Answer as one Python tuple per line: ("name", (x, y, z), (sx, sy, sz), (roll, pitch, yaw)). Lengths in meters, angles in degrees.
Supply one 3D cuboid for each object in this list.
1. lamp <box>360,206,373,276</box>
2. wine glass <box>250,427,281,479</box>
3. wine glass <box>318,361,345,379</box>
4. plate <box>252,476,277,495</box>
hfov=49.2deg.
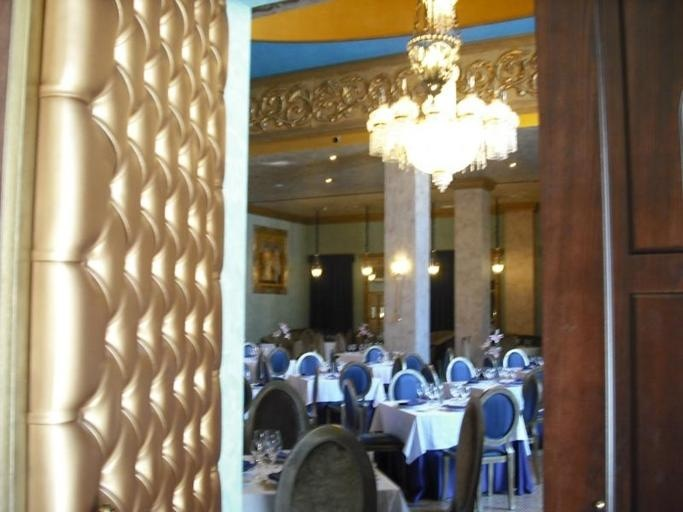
("lamp", (0.550, -0.296, 16.863), (0.268, 1.551, 0.299), (1, 22, 12))
("wine glass", (-0.393, 0.994, 3.853), (0.148, 0.193, 0.181), (1, -5, -8))
("wine glass", (-0.133, 1.241, 8.153), (0.246, 0.285, 0.156), (-1, -6, 24))
("plate", (-0.373, 1.091, 3.553), (0.115, 0.046, 0.223), (1, -6, -9))
